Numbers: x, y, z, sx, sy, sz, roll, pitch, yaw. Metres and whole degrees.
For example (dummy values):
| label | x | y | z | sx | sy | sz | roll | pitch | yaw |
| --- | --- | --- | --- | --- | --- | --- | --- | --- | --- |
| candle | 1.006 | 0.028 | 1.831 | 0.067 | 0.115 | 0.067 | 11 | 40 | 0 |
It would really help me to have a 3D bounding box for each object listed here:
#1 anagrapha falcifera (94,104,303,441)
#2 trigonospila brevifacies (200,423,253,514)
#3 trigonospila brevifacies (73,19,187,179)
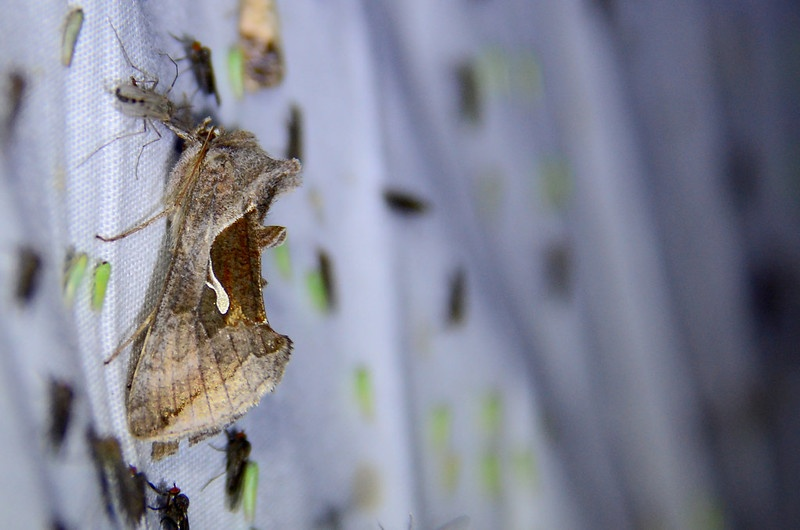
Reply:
| label | x | y | z | sx | sy | sz | roll | pitch | yaw |
| --- | --- | --- | --- | --- | --- | --- | --- | --- | --- |
| anagrapha falcifera | -0.437 | 0.017 | 2.263 | 0.437 | 0.713 | 0.213 | 2 | 4 | -42 |
| trigonospila brevifacies | -0.401 | 0.473 | 2.424 | 0.077 | 0.226 | 0.140 | 7 | -15 | -12 |
| trigonospila brevifacies | -0.561 | -0.345 | 2.299 | 0.194 | 0.357 | 0.306 | 2 | -20 | -4 |
